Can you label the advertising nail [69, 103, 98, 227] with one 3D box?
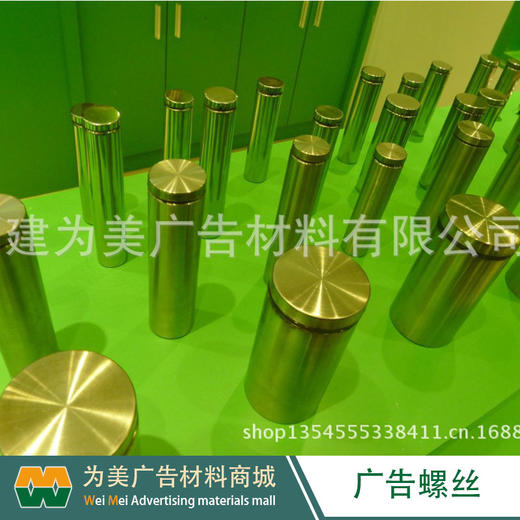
[{"bbox_3d":[-0.411,-0.195,1.063,0.055,0.231,0.067,8,12,42],"label":"advertising nail"}]
